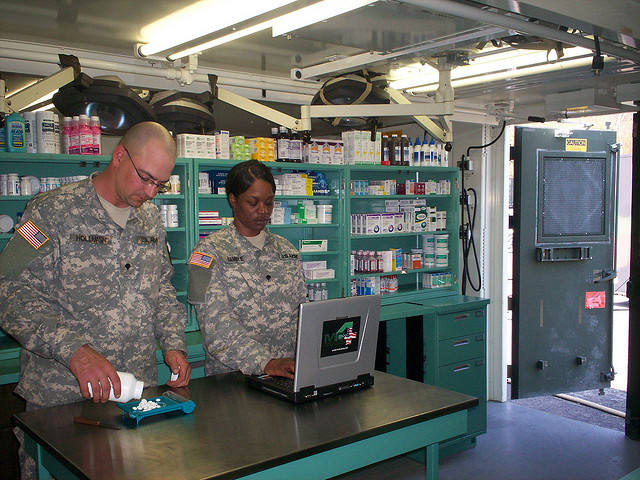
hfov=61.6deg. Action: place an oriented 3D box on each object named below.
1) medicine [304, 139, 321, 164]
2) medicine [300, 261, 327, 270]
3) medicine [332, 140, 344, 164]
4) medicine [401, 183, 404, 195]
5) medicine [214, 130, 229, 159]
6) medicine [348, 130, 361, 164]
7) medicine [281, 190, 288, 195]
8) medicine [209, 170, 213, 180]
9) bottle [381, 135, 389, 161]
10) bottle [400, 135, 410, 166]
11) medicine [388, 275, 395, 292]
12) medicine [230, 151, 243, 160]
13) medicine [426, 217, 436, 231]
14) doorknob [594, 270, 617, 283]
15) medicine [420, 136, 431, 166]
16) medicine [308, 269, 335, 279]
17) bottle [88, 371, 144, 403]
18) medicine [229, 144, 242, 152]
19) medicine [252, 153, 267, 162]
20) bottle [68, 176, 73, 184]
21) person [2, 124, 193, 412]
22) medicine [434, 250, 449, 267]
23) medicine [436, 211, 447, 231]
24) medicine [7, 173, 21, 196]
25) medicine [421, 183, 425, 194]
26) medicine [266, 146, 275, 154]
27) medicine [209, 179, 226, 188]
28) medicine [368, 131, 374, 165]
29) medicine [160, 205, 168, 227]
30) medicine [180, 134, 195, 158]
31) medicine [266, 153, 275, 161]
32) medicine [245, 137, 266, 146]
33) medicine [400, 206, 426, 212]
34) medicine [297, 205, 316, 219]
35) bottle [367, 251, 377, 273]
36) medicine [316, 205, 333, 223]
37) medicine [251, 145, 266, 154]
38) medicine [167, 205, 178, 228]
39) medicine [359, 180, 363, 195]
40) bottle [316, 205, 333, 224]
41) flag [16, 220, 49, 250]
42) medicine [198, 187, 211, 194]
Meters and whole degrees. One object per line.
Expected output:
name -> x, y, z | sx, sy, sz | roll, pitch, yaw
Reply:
medicine -> -0.072, -0.755, 4.597 | 0.137, 0.217, 0.201 | -2, 5, 0
medicine -> -0.049, 0.216, 4.706 | 0.252, 0.071, 0.193 | -2, 4, -11
medicine -> 0.151, -0.778, 4.727 | 0.088, 0.222, 0.213 | -1, 5, 12
medicine -> 0.789, -0.493, 5.178 | 0.026, 0.091, 0.044 | -2, 5, 6
medicine -> -0.767, -0.730, 4.137 | 0.104, 0.211, 0.064 | -2, 5, 2
medicine -> 0.297, -0.820, 4.754 | 0.117, 0.291, 0.079 | -2, 5, 3
medicine -> -0.295, -0.388, 4.394 | 0.055, 0.030, 0.048 | -1, 2, 9
medicine -> -0.866, -0.515, 4.227 | 0.023, 0.075, 0.070 | -5, 6, -33
bottle -> 0.598, -0.852, 5.006 | 0.065, 0.225, 0.067 | -2, 5, 0
bottle -> 0.792, -0.845, 5.050 | 0.080, 0.295, 0.128 | 0, 5, 19
medicine -> 0.662, 0.412, 5.046 | 0.052, 0.138, 0.062 | 0, 5, 19
medicine -> -0.666, -0.666, 4.224 | 0.100, 0.066, 0.050 | -2, 5, -8
medicine -> 1.099, -0.161, 5.294 | 0.033, 0.131, 0.139 | 2, 6, 40
doorknob -> 3.194, 0.402, 6.025 | 0.244, 0.080, 0.116 | -12, 8, 13
medicine -> 0.998, -0.815, 5.122 | 0.111, 0.210, 0.042 | -4, 6, -26
medicine -> -0.001, 0.286, 4.632 | 0.271, 0.067, 0.078 | -3, 24, -29
bottle -> -0.820, 0.619, 2.251 | 0.132, 0.141, 0.104 | -3, 5, -19
medicine -> -0.671, -0.725, 4.232 | 0.080, 0.037, 0.069 | 2, 4, 12
medicine -> -0.493, -0.654, 4.301 | 0.105, 0.063, 0.105 | -5, 8, -44
bottle -> -1.748, -0.427, 3.747 | 0.021, 0.048, 0.174 | -4, 5, -25
person -> -1.008, 0.115, 2.581 | 0.722, 1.326, 0.803 | 1, 6, 33
medicine -> 1.189, 0.184, 5.407 | 0.186, 0.146, 0.160 | 0, 4, 4
medicine -> 1.203, -0.198, 5.367 | 0.117, 0.185, 0.059 | -7, 7, -43
medicine -> -2.029, -0.365, 3.550 | 0.080, 0.141, 0.057 | -6, 7, -42
medicine -> 0.992, -0.505, 5.207 | 0.042, 0.097, 0.012 | -5, 6, -28
medicine -> -0.410, -0.724, 4.312 | 0.024, 0.055, 0.068 | -18, -29, 24
medicine -> -0.818, -0.444, 4.199 | 0.130, 0.067, 0.061 | -1, 5, 6
medicine -> 0.447, -0.827, 4.833 | 0.068, 0.280, 0.025 | -5, 6, -32
medicine -> -1.185, -0.185, 4.056 | 0.054, 0.164, 0.197 | -3, 5, -15
medicine -> -0.990, -0.698, 3.989 | 0.104, 0.171, 0.040 | -3, 5, -10
medicine -> -0.410, -0.665, 4.308 | 0.027, 0.057, 0.081 | 8, 10, 38
medicine -> -0.521, -0.788, 4.304 | 0.112, 0.021, 0.104 | 3, 4, 40
medicine -> 0.899, -0.300, 5.174 | 0.278, 0.058, 0.072 | -3, 5, -25
medicine -> -0.124, -0.244, 4.590 | 0.165, 0.118, 0.034 | -4, 6, -33
bottle -> 0.463, 0.199, 4.914 | 0.078, 0.186, 0.051 | -2, 5, 2
medicine -> 0.028, -0.224, 4.653 | 0.186, 0.145, 0.160 | 0, 3, 6
medicine -> -0.505, -0.724, 4.292 | 0.073, 0.034, 0.098 | 0, 0, -43
medicine -> -1.127, -0.185, 4.068 | 0.075, 0.165, 0.095 | -3, 5, -15
medicine -> 0.365, -0.471, 4.825 | 0.038, 0.119, 0.076 | -1, 5, 12
bottle -> 0.036, -0.226, 4.673 | 0.150, 0.163, 0.090 | -3, 5, -11
flag -> -1.334, -0.051, 2.500 | 0.048, 0.200, 0.132 | 24, 49, 3
medicine -> -0.894, -0.382, 4.125 | 0.074, 0.052, 0.016 | 1, -2, -34
